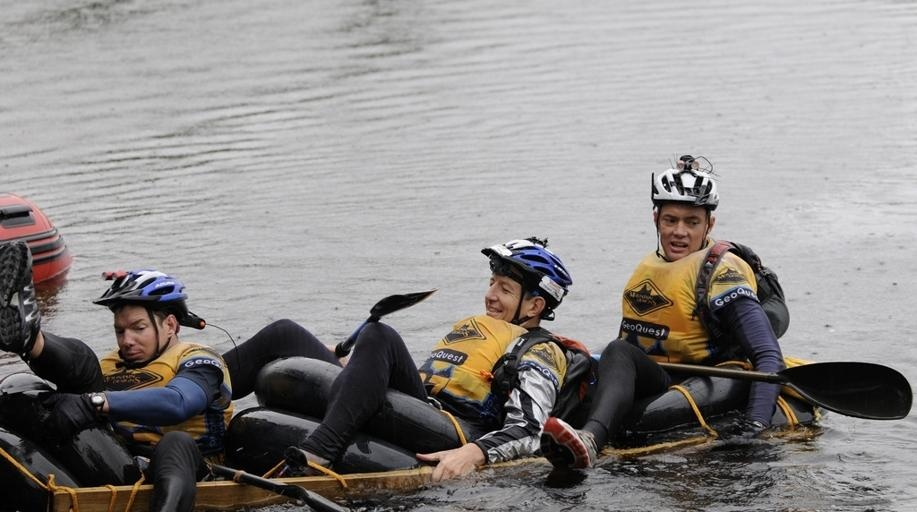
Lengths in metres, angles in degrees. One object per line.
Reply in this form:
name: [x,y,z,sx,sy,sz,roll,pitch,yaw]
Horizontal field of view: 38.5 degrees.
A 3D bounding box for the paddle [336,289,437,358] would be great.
paddle: [-1.269,1.299,24.005,2.118,0.217,0.528,-26,-36,16]
